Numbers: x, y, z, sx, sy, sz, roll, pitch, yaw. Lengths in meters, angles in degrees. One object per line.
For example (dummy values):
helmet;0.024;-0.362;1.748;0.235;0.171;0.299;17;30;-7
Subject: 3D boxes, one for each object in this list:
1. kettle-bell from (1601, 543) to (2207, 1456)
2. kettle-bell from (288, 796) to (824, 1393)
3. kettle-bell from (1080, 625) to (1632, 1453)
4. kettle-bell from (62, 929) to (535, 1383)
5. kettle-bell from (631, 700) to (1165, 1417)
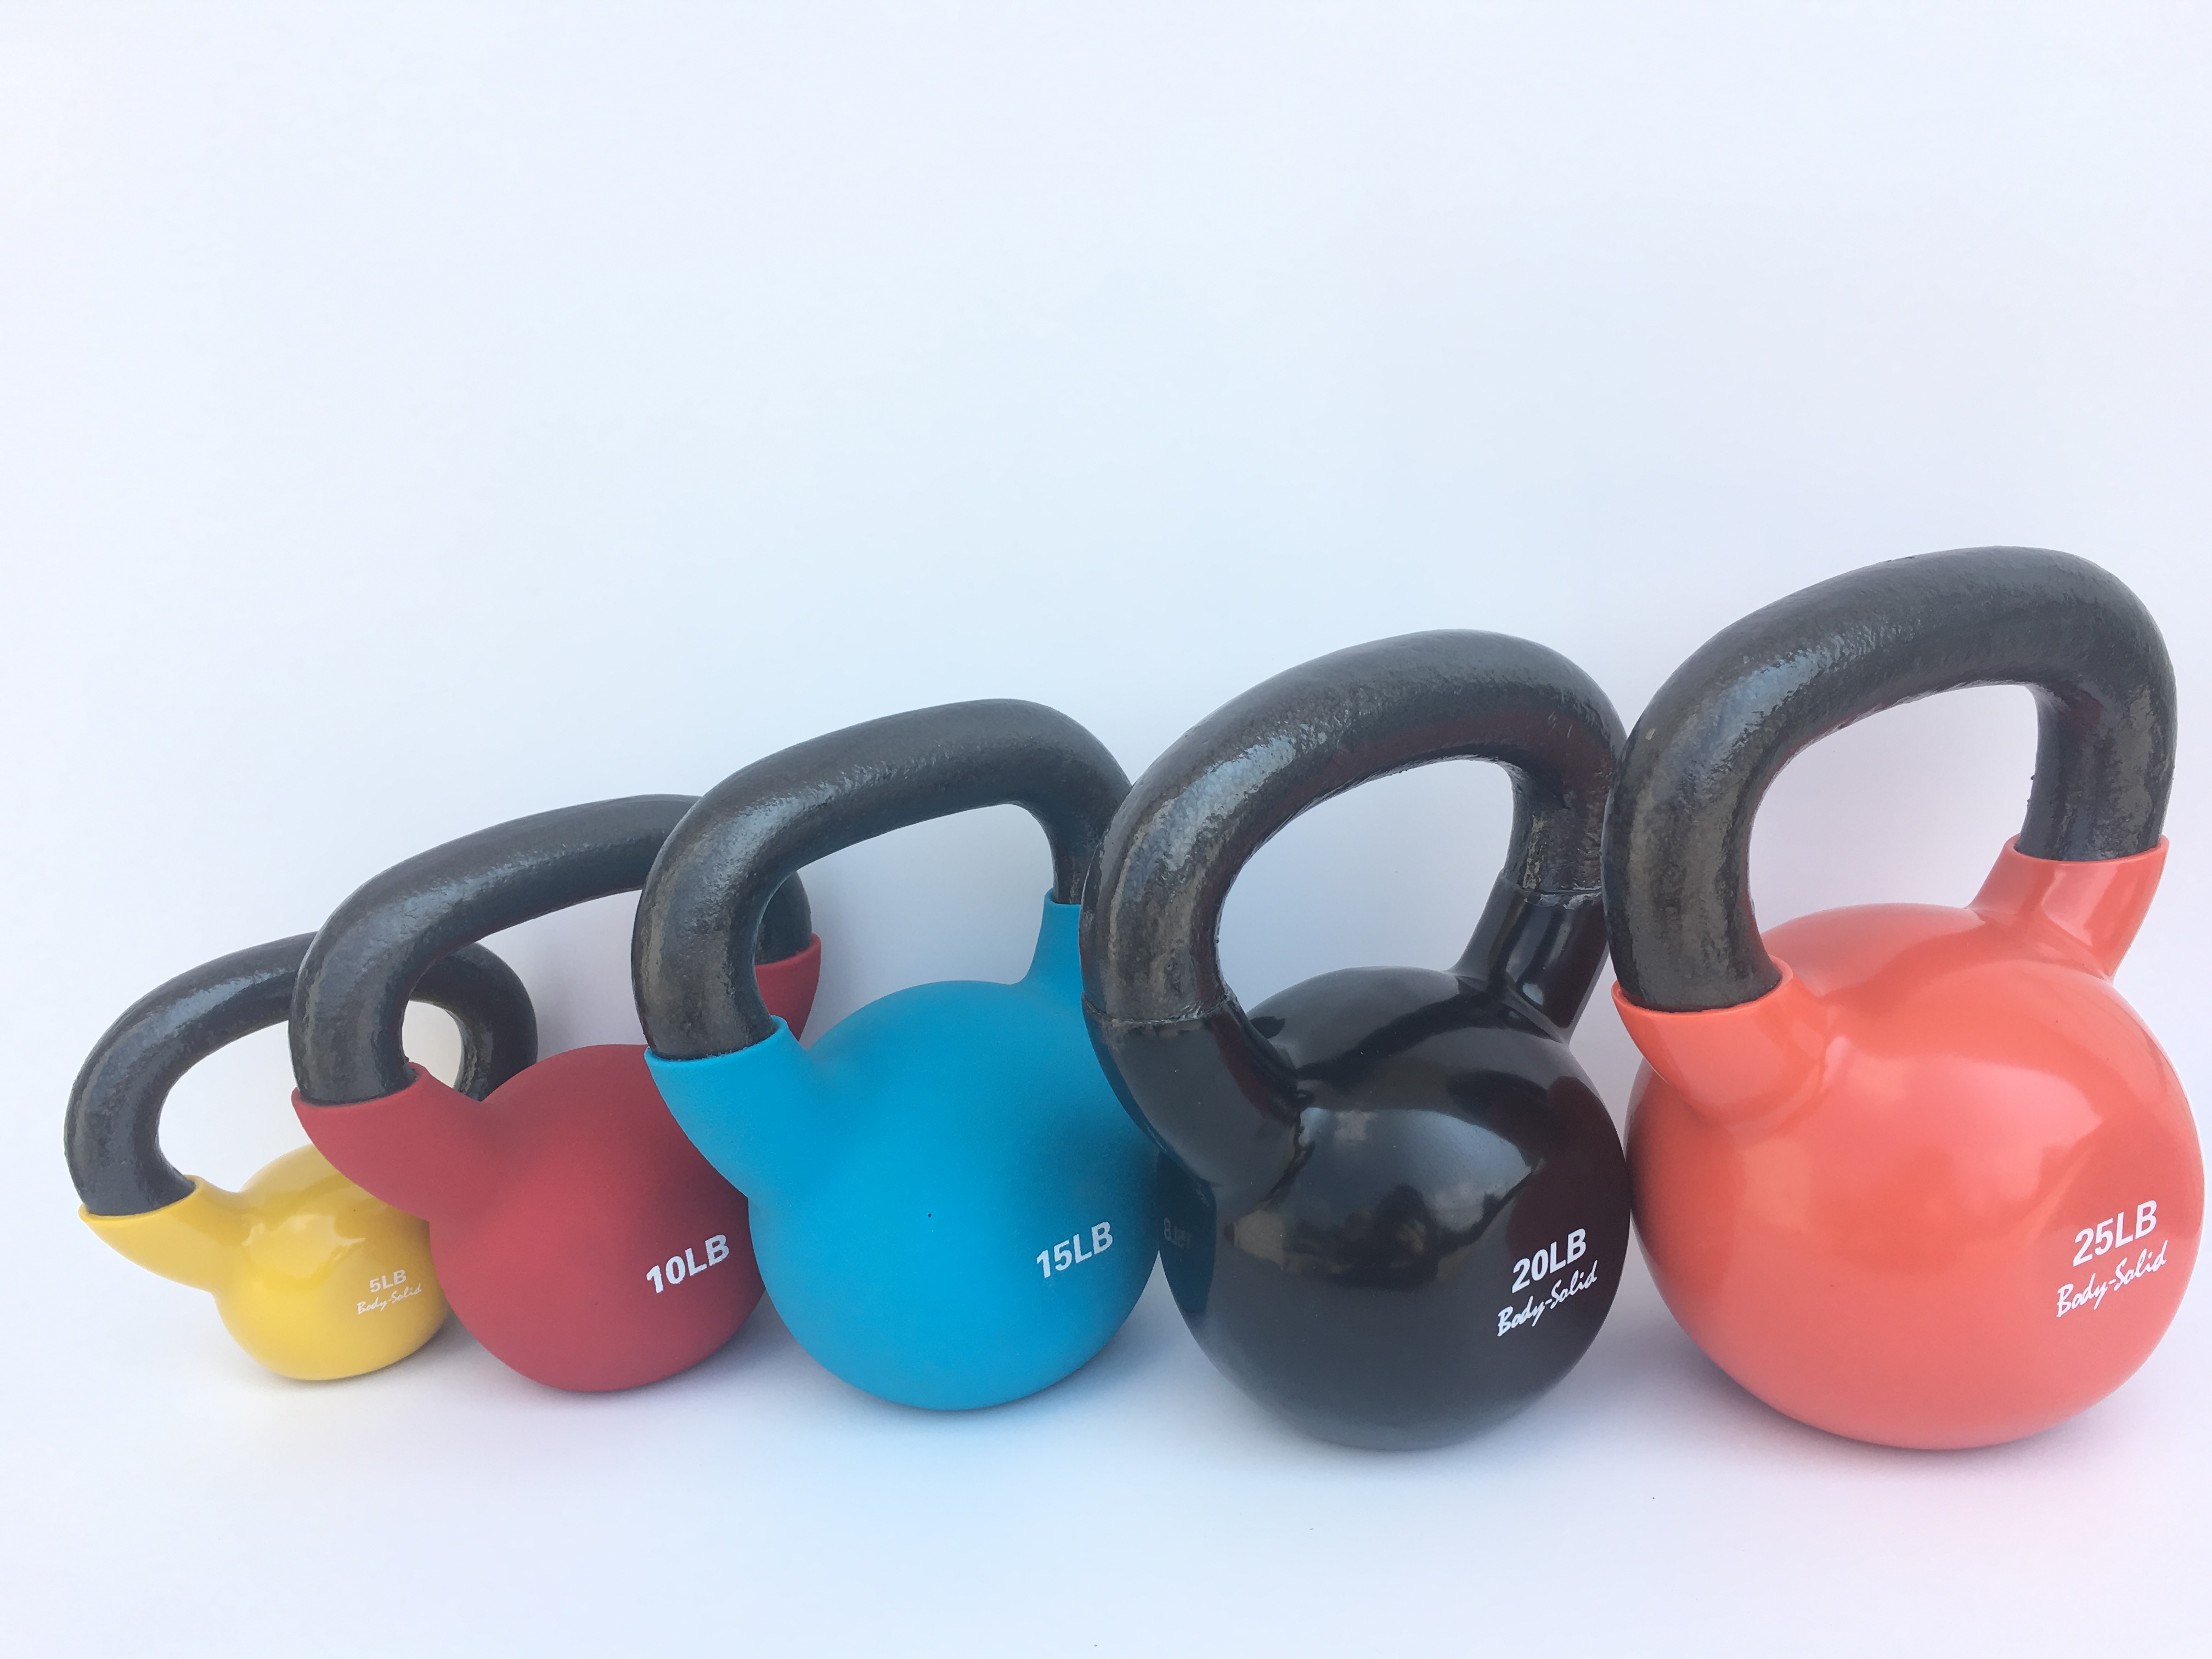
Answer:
kettle-bell;0.528;0.110;1.614;0.397;0.440;0.285;-14;36;-8
kettle-bell;-0.358;0.199;1.823;0.361;0.472;0.158;-17;31;-23
kettle-bell;0.181;0.136;1.655;0.376;0.422;0.285;-10;35;-2
kettle-bell;-0.559;0.231;1.797;0.193;0.224;0.102;-19;18;-7
kettle-bell;-0.092;0.165;1.788;0.330;0.458;0.223;-20;24;-31
